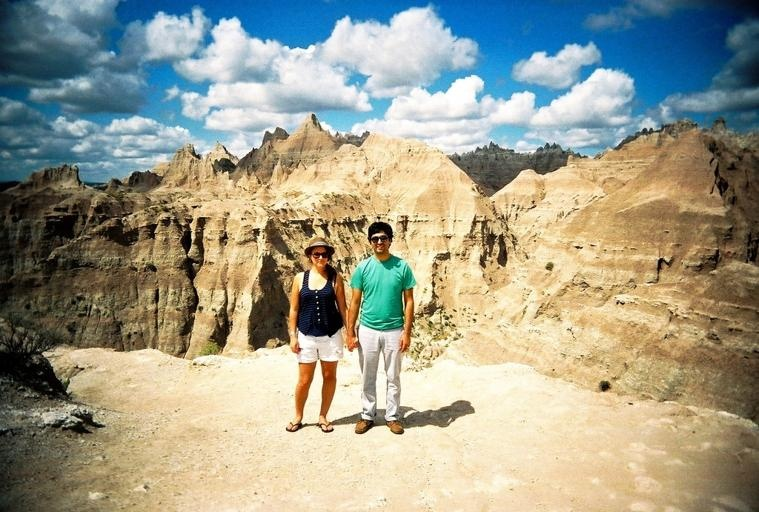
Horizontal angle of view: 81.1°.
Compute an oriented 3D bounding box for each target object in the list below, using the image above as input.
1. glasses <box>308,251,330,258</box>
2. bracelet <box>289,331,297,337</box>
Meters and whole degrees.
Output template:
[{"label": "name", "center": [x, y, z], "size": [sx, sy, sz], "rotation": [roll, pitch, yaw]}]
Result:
[{"label": "glasses", "center": [-1.443, -0.018, 10.521], "size": [0.525, 0.190, 0.236], "rotation": [-2, 7, 2]}, {"label": "bracelet", "center": [-2.114, 1.898, 10.837], "size": [0.157, 0.160, 0.169], "rotation": [-1, -7, -4]}]
